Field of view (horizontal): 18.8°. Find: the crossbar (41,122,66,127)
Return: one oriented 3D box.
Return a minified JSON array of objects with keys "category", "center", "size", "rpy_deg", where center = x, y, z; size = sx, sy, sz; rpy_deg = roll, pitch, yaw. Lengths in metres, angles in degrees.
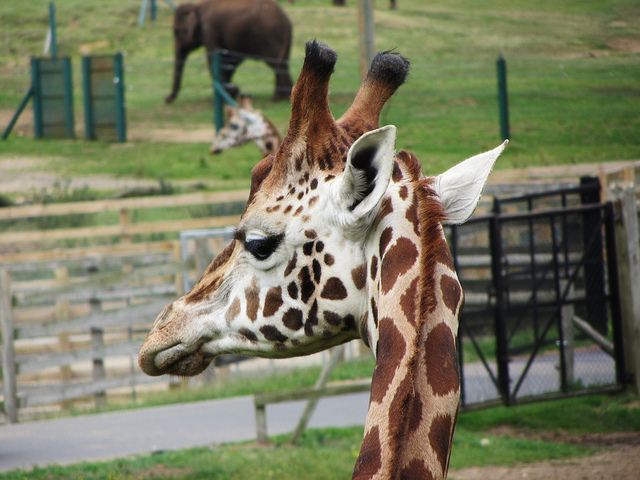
[{"category":"crossbar","center":[-3.037,-1.341,22.140],"size":[0.280,0.044,0.067],"rpy_deg":[-3,6,-25]}]

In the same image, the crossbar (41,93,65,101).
[{"category":"crossbar","center":[-3.045,-1.659,22.152],"size":[0.257,0.075,0.066],"rpy_deg":[-4,8,-6]}]

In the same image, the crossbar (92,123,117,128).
[{"category":"crossbar","center":[-2.487,-1.343,22.376],"size":[0.246,0.047,0.074],"rpy_deg":[-4,-11,-26]}]

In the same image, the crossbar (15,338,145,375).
[{"category":"crossbar","center":[-2.898,1.392,22.891],"size":[1.422,0.314,0.787],"rpy_deg":[-2,8,7]}]

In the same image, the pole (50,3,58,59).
[{"category":"pole","center":[-3.040,-2.412,22.147],"size":[0.084,0.630,0.045],"rpy_deg":[-4,7,-17]}]

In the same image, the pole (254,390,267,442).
[{"category":"pole","center":[-0.813,2.429,25.940],"size":[0.120,0.510,0.294],"rpy_deg":[-3,8,-3]}]
